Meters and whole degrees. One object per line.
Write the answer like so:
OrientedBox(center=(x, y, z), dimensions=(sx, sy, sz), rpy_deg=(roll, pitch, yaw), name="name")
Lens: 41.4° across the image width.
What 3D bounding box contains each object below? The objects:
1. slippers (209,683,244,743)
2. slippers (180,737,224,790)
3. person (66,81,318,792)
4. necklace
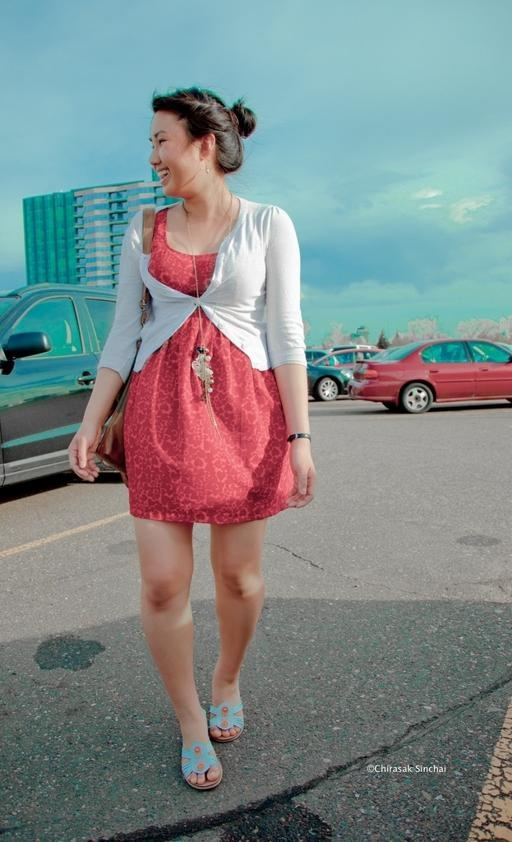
OrientedBox(center=(-0.095, 0.869, 1.996), dimensions=(0.073, 0.063, 0.182), rpy_deg=(-1, 4, -1), name="slippers")
OrientedBox(center=(-0.143, 0.892, 1.763), dimensions=(0.069, 0.057, 0.139), rpy_deg=(-1, 0, -5), name="slippers")
OrientedBox(center=(-0.163, 0.043, 1.791), dimensions=(0.619, 1.805, 0.415), rpy_deg=(-3, 4, -15), name="person")
OrientedBox(center=(-0.137, -0.257, 1.718), dimensions=(0.150, 0.474, 0.020), rpy_deg=(-4, 0, 15), name="necklace")
